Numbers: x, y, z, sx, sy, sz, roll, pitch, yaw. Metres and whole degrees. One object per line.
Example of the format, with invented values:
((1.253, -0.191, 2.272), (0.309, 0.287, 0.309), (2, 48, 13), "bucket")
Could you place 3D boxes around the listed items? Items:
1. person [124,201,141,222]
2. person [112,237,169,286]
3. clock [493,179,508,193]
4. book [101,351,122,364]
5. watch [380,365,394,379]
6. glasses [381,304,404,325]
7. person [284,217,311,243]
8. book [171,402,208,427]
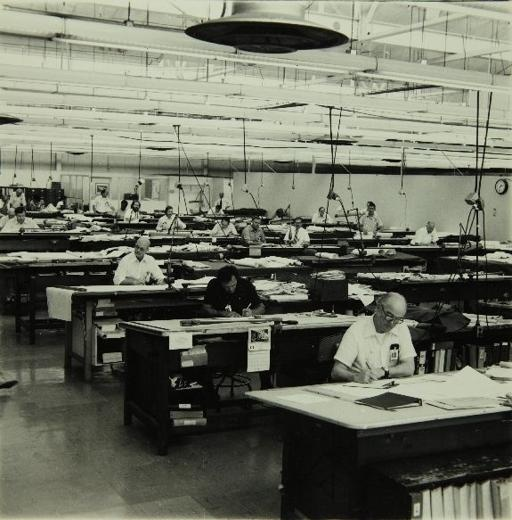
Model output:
((-3.054, -1.198, 16.269), (0.379, 0.493, 1.119), (-1, 6, -13), "person")
((-1.370, 0.056, 7.718), (0.657, 0.877, 0.567), (1, 4, -16), "person")
((6.212, -1.871, 16.753), (0.097, 0.301, 0.305), (5, 23, -26), "clock")
((-1.462, 1.001, 6.728), (0.159, 0.070, 0.110), (0, 8, -34), "book")
((0.862, 0.734, 4.345), (0.054, 0.077, 0.081), (3, 26, 12), "watch")
((0.884, 0.340, 4.327), (0.127, 0.108, 0.143), (20, 20, -19), "glasses")
((0.906, -0.632, 14.572), (0.624, 0.871, 0.552), (1, 0, 6), "person")
((-0.510, 1.176, 5.003), (0.213, 0.071, 0.202), (2, 8, -20), "book")
